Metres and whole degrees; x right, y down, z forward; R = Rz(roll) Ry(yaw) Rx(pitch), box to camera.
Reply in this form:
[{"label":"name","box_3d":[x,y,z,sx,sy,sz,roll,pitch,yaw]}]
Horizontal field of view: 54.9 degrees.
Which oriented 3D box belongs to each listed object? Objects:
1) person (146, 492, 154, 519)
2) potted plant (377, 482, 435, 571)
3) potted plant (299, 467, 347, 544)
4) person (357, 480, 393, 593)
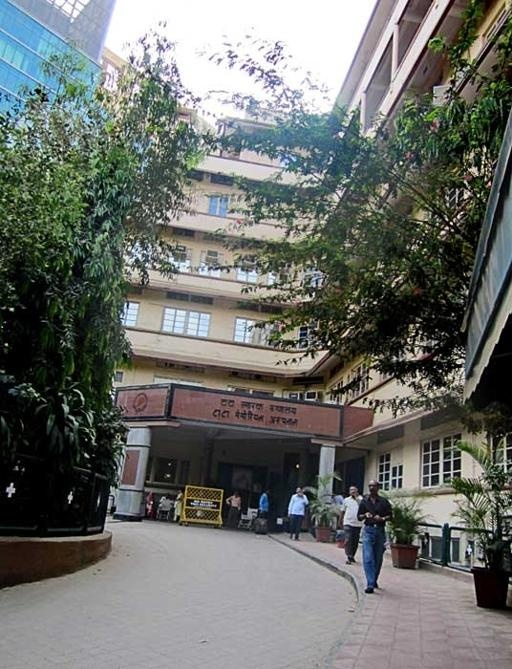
[{"label":"person","box_3d":[-5.274,8.409,24.322,0.375,1.131,0.760,9,-17,-9]},{"label":"potted plant","box_3d":[3.556,4.796,12.143,1.241,1.703,1.209,0,-28,8]},{"label":"potted plant","box_3d":[2.737,7.422,20.767,1.375,2.277,1.456,-10,-23,33]},{"label":"person","box_3d":[1.706,2.984,7.394,0.477,1.519,0.615,-4,-20,28]}]
